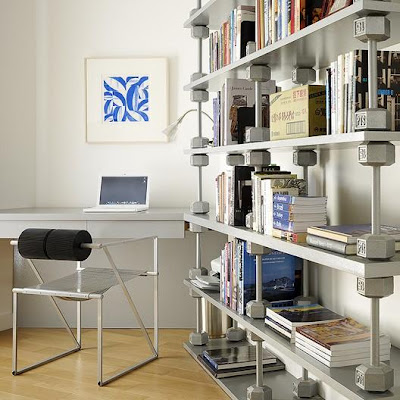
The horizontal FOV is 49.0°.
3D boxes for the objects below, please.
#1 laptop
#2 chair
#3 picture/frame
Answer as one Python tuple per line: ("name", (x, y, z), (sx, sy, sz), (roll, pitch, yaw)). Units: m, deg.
("laptop", (-0.494, -0.044, 2.821), (0.337, 0.207, 0.260), (0, -1, 3))
("chair", (-0.630, 0.537, 2.572), (0.783, 0.813, 0.913), (0, 2, 17))
("picture/frame", (-0.482, -0.729, 3.149), (0.616, 0.626, 0.066), (0, 4, 2))
